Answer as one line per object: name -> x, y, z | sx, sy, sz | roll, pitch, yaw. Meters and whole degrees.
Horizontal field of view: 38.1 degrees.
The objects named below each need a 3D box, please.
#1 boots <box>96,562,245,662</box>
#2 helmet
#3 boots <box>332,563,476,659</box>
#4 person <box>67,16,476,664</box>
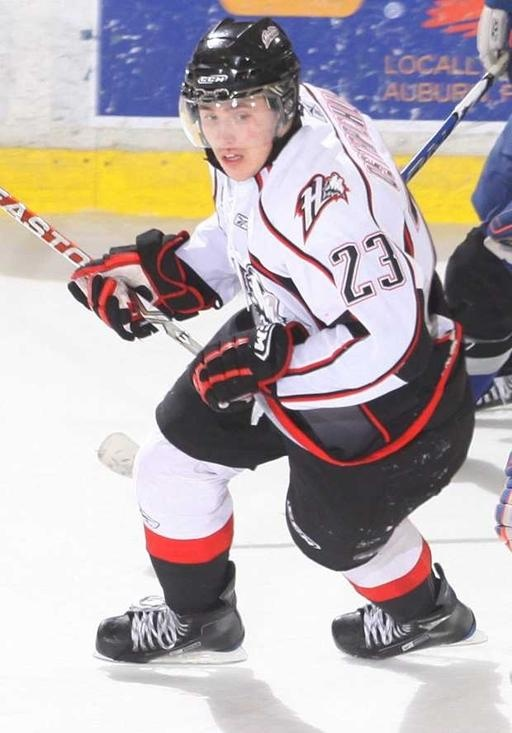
boots -> -0.220, 0.469, 1.439 | 0.381, 0.187, 0.125 | 2, -4, 7
helmet -> -0.024, -0.378, 1.015 | 0.165, 0.184, 0.180 | -1, 28, -5
boots -> 0.253, 0.455, 1.356 | 0.350, 0.212, 0.114 | -6, 51, 20
person -> 0.015, 0.010, 1.236 | 0.692, 1.074, 0.478 | 10, 31, 15
